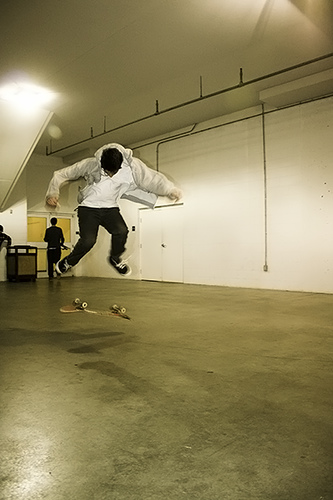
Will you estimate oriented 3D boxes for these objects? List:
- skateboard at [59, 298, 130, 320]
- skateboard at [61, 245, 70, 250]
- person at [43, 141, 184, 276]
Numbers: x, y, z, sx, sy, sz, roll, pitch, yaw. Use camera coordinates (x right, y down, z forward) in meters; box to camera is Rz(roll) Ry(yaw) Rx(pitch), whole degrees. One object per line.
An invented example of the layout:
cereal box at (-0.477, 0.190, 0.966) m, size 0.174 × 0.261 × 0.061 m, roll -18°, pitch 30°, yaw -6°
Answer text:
skateboard at (-0.678, 0.549, 3.465) m, size 0.598 × 0.131 × 0.371 m, roll 7°, pitch -11°, yaw 11°
skateboard at (-2.517, -0.057, 9.180) m, size 0.096 × 0.108 × 0.285 m, roll 1°, pitch -3°, yaw 37°
person at (-0.533, -0.400, 3.650) m, size 1.228 × 1.304 × 0.610 m, roll 1°, pitch 27°, yaw -16°
